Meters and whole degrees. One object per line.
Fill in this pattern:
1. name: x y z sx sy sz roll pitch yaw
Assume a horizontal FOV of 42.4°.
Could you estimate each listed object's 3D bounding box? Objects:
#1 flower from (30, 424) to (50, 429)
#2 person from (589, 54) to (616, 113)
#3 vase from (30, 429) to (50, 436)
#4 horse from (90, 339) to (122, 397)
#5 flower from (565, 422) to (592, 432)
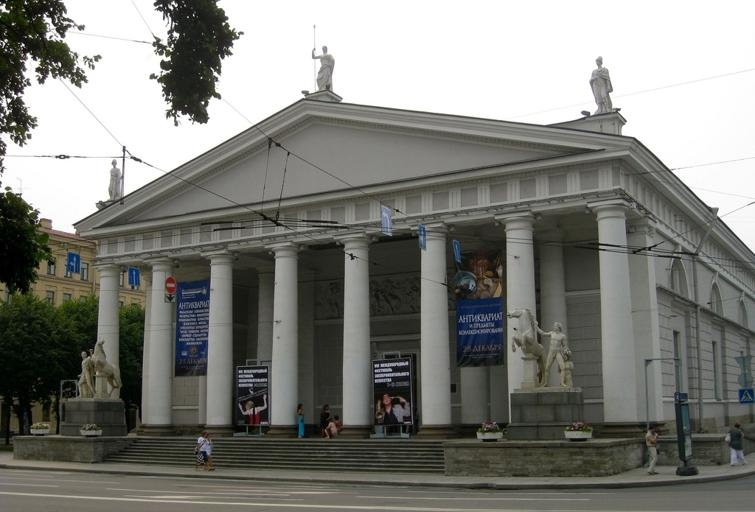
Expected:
1. flower: -17.187 8.600 49.528 0.791 0.263 0.786 -5 -11 24
2. person: 9.637 -7.569 42.122 0.849 2.637 1.456 -4 -16 13
3. vase: -17.132 8.876 49.511 0.708 0.285 0.543 -4 -8 19
4. horse: -13.100 5.442 47.190 0.935 2.709 2.123 -3 -16 7
5. flower: 7.587 6.421 36.875 0.928 0.373 0.431 -4 -16 11
